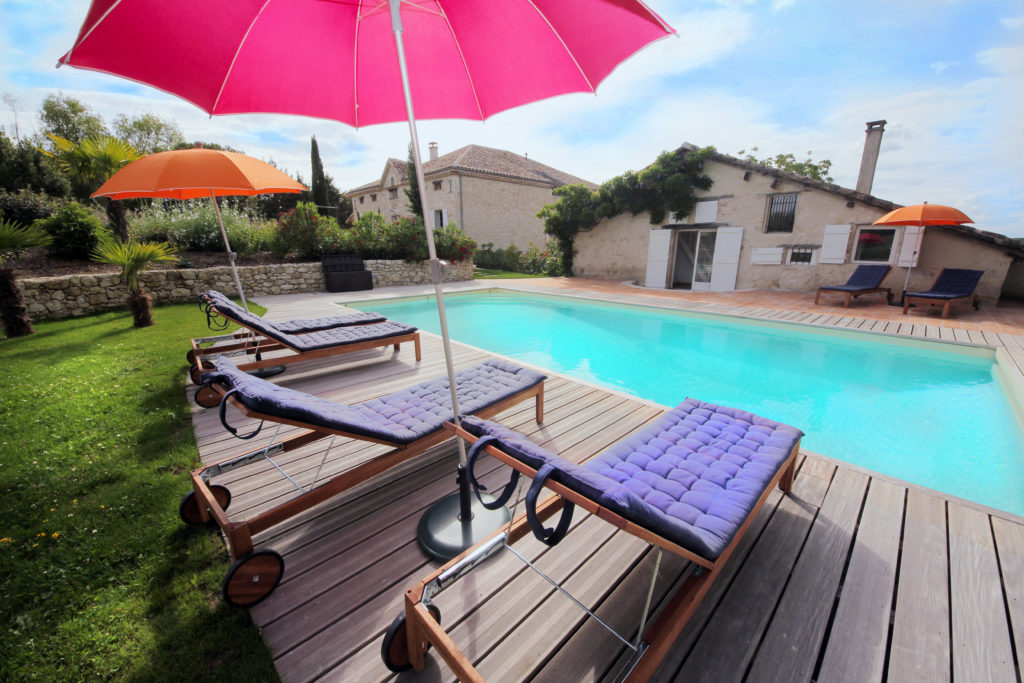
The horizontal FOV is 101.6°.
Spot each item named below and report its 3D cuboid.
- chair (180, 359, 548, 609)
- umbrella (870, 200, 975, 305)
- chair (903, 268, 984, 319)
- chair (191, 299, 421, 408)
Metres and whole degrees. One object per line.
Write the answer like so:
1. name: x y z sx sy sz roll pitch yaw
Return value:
1. chair: -0.918 0.753 4.053 3.957 1.598 1.472 -14 28 -27
2. umbrella: 9.979 -2.374 10.348 1.633 2.215 2.673 7 15 38
3. chair: 9.928 -1.175 9.797 2.322 1.059 1.220 -8 10 -31
4. chair: -2.810 0.101 6.184 3.045 1.014 1.694 -9 19 -28
